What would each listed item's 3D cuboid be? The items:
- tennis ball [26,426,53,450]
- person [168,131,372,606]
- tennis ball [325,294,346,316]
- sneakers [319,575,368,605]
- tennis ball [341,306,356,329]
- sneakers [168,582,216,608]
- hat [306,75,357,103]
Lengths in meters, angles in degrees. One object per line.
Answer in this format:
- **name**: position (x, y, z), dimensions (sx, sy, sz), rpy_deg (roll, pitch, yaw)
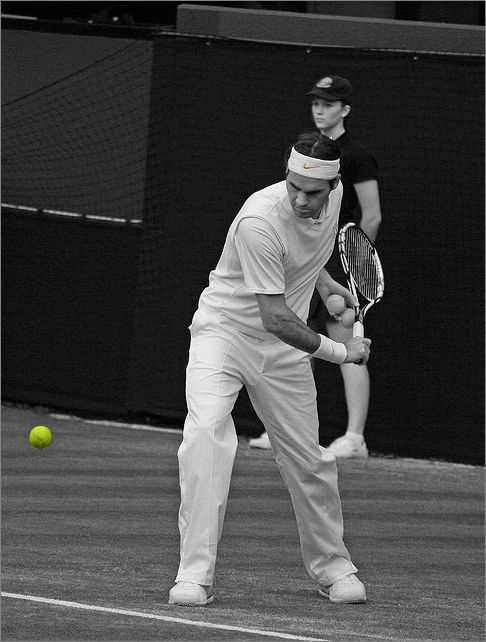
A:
- **tennis ball**: position (-1.261, 0.731, 4.944), dimensions (0.169, 0.158, 0.146), rpy_deg (7, -16, -13)
- **person**: position (0.117, 0.288, 2.722), dimensions (0.686, 1.575, 0.735), rpy_deg (2, 19, 1)
- **tennis ball**: position (0.367, -0.061, 3.140), dimensions (0.085, 0.072, 0.082), rpy_deg (4, -11, 1)
- **sneakers**: position (0.350, 0.934, 2.744), dimensions (0.077, 0.067, 0.165), rpy_deg (7, -13, -24)
- **tennis ball**: position (0.434, -0.015, 3.134), dimensions (0.061, 0.064, 0.071), rpy_deg (0, -9, 20)
- **sneakers**: position (-0.177, 0.884, 2.570), dimensions (0.070, 0.063, 0.162), rpy_deg (7, -13, 11)
- **hat**: position (0.532, -1.388, 4.760), dimensions (0.166, 0.118, 0.234), rpy_deg (23, 9, 42)
